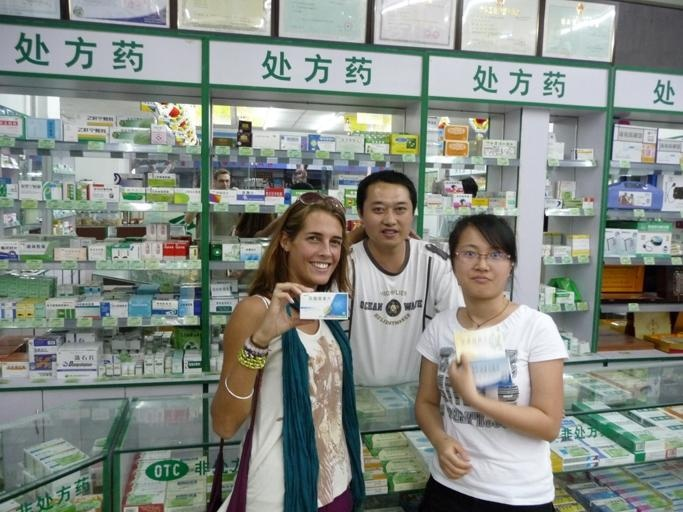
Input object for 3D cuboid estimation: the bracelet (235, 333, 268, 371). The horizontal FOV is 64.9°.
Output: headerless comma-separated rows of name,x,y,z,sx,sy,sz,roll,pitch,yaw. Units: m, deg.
bracelet,-0.340,0.375,2.113,0.121,0.098,0.123,13,1,8
